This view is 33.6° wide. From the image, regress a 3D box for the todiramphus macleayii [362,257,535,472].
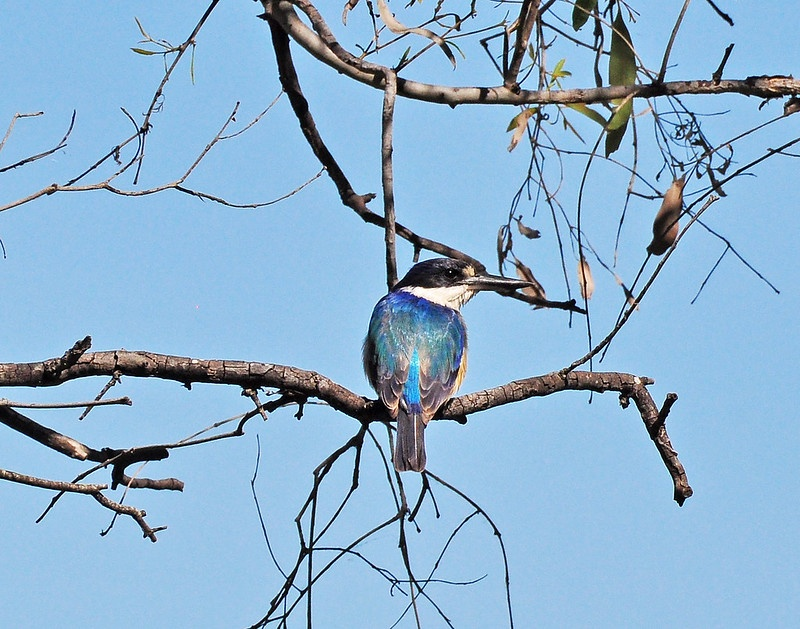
[{"bbox_3d":[0.113,0.241,8.579,0.573,2.104,1.054,6,-82,4],"label":"todiramphus macleayii"}]
